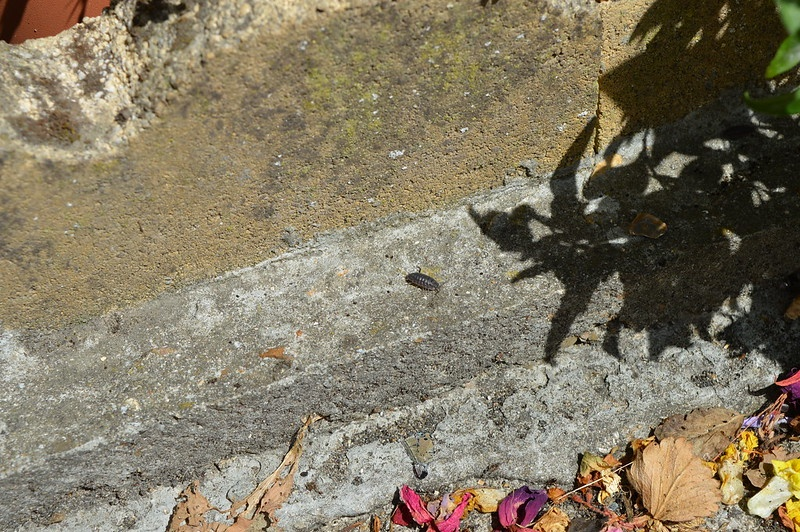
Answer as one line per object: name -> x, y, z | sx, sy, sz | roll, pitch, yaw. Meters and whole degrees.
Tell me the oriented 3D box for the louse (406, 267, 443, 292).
louse -> 0.160, 0.110, 5.885 | 0.262, 0.075, 0.102 | 23, 82, 4
